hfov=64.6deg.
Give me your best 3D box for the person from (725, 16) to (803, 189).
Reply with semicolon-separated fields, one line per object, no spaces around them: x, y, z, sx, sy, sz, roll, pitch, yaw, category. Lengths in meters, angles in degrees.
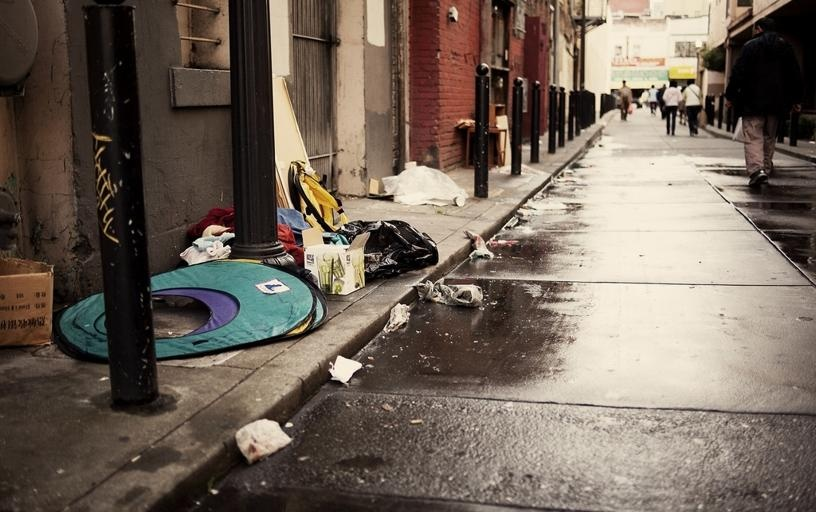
6.739;-2.942;12.239;1.060;3.099;0.964;-12;17;-31;person
